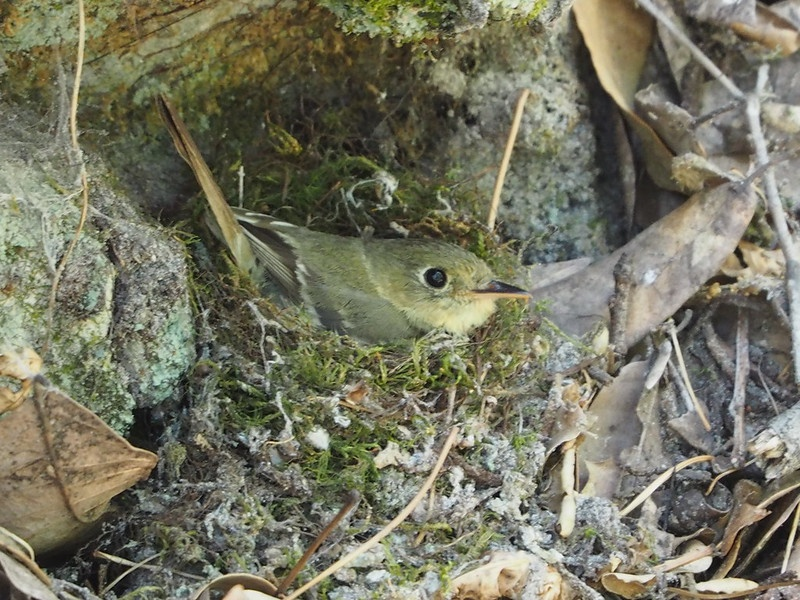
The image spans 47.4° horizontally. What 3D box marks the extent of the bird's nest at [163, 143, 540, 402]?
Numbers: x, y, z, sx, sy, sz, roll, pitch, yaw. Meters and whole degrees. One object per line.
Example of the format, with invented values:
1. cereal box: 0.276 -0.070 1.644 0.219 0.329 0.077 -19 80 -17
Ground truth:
1. bird's nest: -0.178 -0.125 3.156 1.332 0.699 0.453 23 47 22
